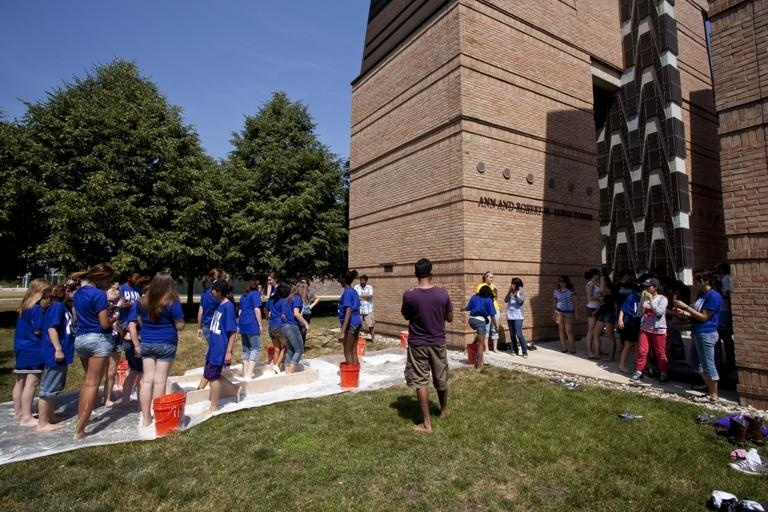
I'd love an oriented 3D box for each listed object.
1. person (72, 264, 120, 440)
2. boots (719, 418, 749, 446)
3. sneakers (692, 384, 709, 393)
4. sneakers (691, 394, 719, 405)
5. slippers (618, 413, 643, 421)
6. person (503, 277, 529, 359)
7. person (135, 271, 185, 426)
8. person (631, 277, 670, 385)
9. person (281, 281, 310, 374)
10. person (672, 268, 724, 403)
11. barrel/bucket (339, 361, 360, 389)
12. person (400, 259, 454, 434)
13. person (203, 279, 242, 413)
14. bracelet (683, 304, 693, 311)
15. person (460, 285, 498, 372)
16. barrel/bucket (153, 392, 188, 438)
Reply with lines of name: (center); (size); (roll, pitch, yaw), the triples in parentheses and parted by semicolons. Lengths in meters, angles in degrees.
person: (-6.873, 2.150, 11.542); (0.867, 3.973, 0.653); (-4, -7, 32)
boots: (7.925, 3.890, 11.201); (0.502, 0.346, 0.576); (-10, 6, -6)
sneakers: (8.428, 3.499, 13.105); (0.156, 0.151, 0.380); (3, -3, -43)
sneakers: (8.287, 3.670, 12.668); (0.658, 0.279, 0.249); (1, -2, 34)
slippers: (6.022, 3.891, 12.018); (0.584, 0.131, 0.286); (-3, -6, 23)
person: (4.635, 2.077, 17.197); (0.614, 2.623, 1.541); (-2, -6, 14)
person: (-5.619, 2.141, 12.056); (1.182, 3.619, 1.151); (3, 8, -24)
person: (7.475, 2.040, 13.855); (0.849, 2.852, 1.023); (-3, -6, 26)
person: (-2.639, 2.099, 14.411); (0.715, 2.534, 0.826); (1, -6, -17)
person: (8.213, 2.051, 12.634); (1.167, 3.306, 0.779); (2, -6, -19)
barrel/bucket: (-0.978, 3.372, 13.977); (0.640, 0.611, 0.624); (0, -9, 0)
person: (1.051, 2.073, 11.909); (1.142, 4.075, 0.790); (3, -6, -30)
person: (-4.166, 2.247, 12.616); (0.877, 3.324, 0.865); (1, -6, -18)
bracelet: (7.746, 1.305, 12.486); (0.153, 0.153, 0.393); (-6, -8, 42)
person: (3.150, 2.216, 15.921); (0.919, 2.564, 1.411); (-2, -6, 11)
barrel/bucket: (-5.083, 3.690, 11.690); (0.811, 0.872, 0.898); (1, -6, -4)
